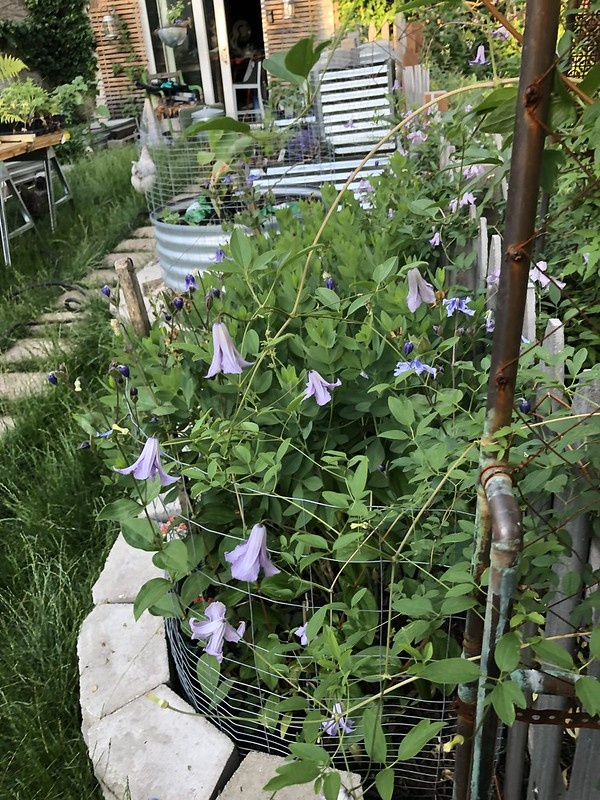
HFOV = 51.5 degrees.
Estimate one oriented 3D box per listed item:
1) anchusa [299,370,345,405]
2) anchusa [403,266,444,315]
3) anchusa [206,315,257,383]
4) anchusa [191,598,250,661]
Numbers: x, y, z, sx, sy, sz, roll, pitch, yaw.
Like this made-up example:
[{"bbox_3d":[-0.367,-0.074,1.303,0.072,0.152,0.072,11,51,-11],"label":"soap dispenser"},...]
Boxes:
[{"bbox_3d":[0.048,-0.031,1.280,0.054,0.080,0.117,2,26,14],"label":"anchusa"},{"bbox_3d":[0.263,-0.240,1.344,0.080,0.097,0.058,-10,27,-10],"label":"anchusa"},{"bbox_3d":[-0.131,-0.106,1.309,0.114,0.110,0.111,-8,29,9],"label":"anchusa"},{"bbox_3d":[-0.181,0.439,1.235,0.079,0.130,0.140,-11,64,28],"label":"anchusa"}]
